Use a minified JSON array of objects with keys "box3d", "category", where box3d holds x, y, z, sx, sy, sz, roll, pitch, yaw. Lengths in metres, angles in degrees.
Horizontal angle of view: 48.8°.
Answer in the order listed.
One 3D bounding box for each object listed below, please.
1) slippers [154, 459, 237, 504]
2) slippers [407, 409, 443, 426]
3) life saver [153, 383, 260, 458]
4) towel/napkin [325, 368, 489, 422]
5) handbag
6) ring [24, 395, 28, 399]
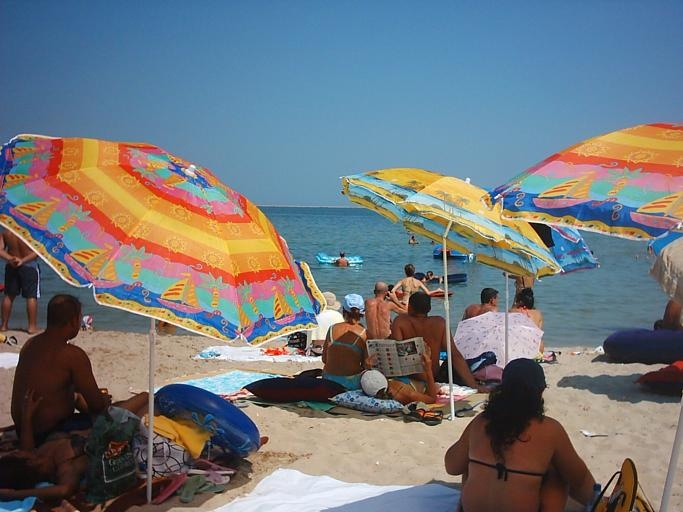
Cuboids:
[{"box3d":[-1.293,2.060,6.857,0.290,0.091,0.442,15,11,43],"category":"slippers"},{"box3d":[0.978,1.872,8.783,0.312,0.088,0.184,4,-5,19],"category":"slippers"},{"box3d":[-1.309,1.423,7.062,0.841,0.244,0.768,12,-26,27],"category":"life saver"},{"box3d":[0.495,1.568,9.313,0.927,0.096,0.750,1,12,9],"category":"towel/napkin"},{"box3d":[-2.043,1.696,6.518,0.211,0.721,0.589,2,1,38],"category":"handbag"},{"box3d":[-2.736,1.221,6.530,0.021,0.078,0.018,-19,-49,-5],"category":"ring"}]
